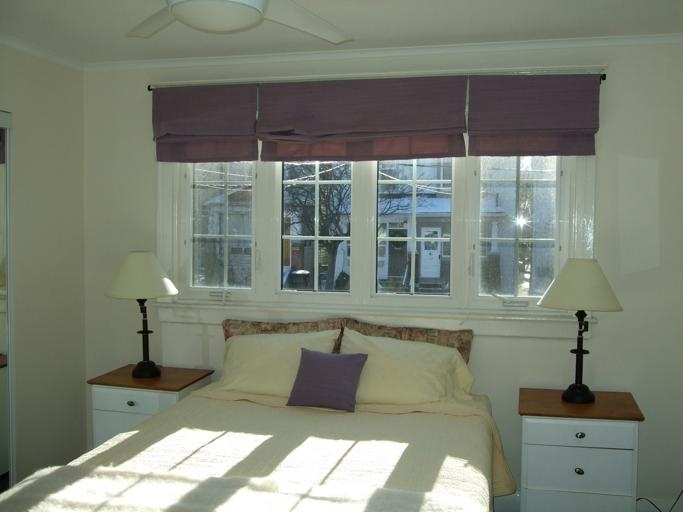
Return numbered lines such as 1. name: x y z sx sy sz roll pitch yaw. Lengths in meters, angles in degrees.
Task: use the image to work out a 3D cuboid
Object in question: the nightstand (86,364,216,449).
1. nightstand: -1.373 1.190 4.430 0.717 0.687 0.497 2 7 11
